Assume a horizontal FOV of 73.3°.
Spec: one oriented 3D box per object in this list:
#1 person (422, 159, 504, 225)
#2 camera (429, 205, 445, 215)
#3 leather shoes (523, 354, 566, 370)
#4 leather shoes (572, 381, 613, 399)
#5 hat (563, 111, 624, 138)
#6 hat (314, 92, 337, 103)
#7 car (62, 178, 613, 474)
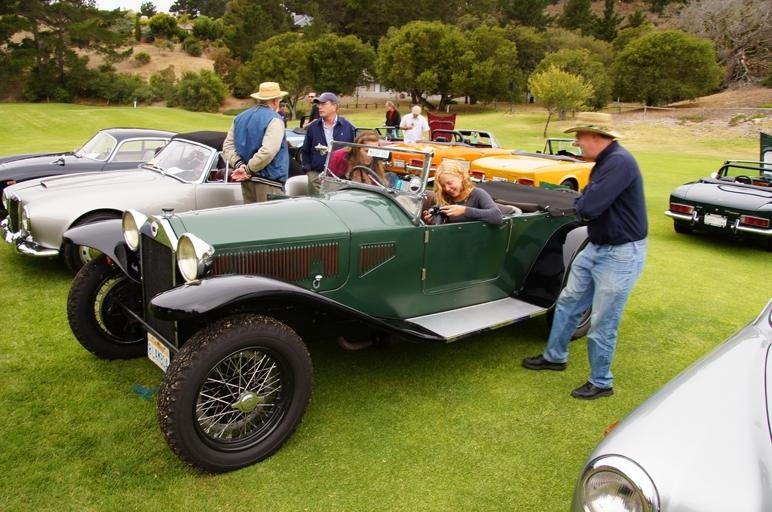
[{"bbox_3d":[0.768,-0.684,5.583,0.964,0.683,0.630,3,13,45],"label":"person"},{"bbox_3d":[0.510,-0.465,5.210,0.081,0.064,0.208,1,-1,28],"label":"camera"},{"bbox_3d":[1.690,1.147,5.548,0.350,0.128,0.198,4,-4,4],"label":"leather shoes"},{"bbox_3d":[2.045,1.322,5.173,0.366,0.143,0.163,3,0,-3],"label":"leather shoes"},{"bbox_3d":[1.948,-1.260,4.922,0.499,0.191,0.445,8,11,28],"label":"hat"},{"bbox_3d":[-0.818,-2.273,7.341,0.296,0.129,0.190,1,3,-33],"label":"hat"},{"bbox_3d":[-0.111,0.411,5.453,5.350,1.652,2.505,-4,13,-33],"label":"car"}]
